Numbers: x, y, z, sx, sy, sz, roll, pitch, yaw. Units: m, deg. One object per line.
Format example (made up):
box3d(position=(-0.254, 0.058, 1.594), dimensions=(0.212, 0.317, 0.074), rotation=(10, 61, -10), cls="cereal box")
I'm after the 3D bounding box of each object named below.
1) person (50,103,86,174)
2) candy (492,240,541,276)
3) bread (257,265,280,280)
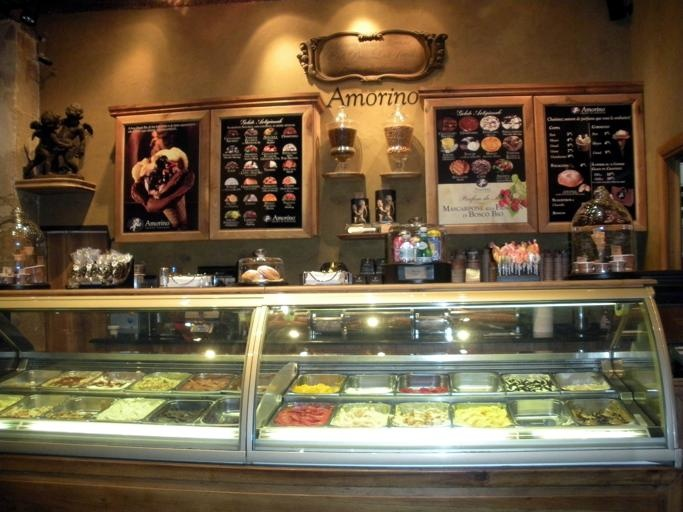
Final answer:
box3d(position=(-2.363, -0.998, 5.163), dimensions=(0.277, 0.622, 0.196), rotation=(1, 9, 18), cls="person")
box3d(position=(1.181, 0.024, 4.035), dimensions=(0.293, 0.225, 0.205), rotation=(-1, 3, 8), cls="candy")
box3d(position=(-0.448, 0.097, 3.633), dimensions=(0.123, 0.053, 0.089), rotation=(16, -2, -12), cls="bread")
